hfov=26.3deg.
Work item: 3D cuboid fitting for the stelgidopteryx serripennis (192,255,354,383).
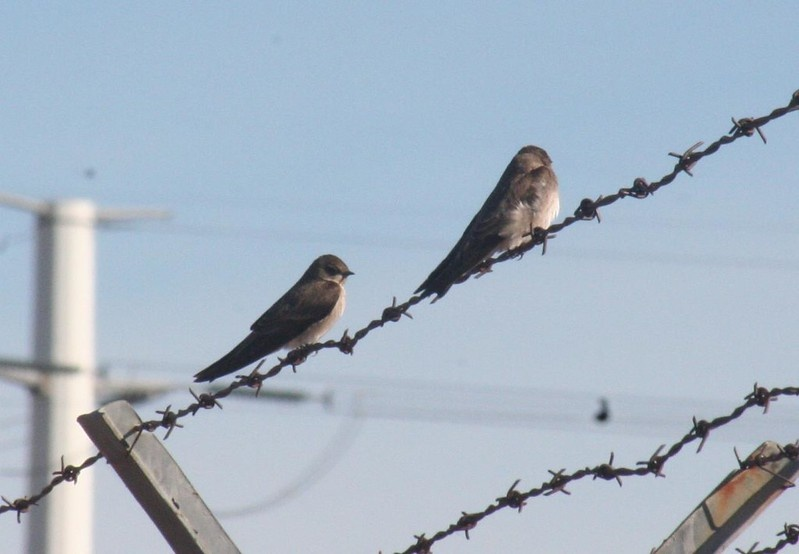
[{"bbox_3d":[-0.939,0.455,14.595,1.617,0.487,0.764,-18,-71,-20],"label":"stelgidopteryx serripennis"}]
